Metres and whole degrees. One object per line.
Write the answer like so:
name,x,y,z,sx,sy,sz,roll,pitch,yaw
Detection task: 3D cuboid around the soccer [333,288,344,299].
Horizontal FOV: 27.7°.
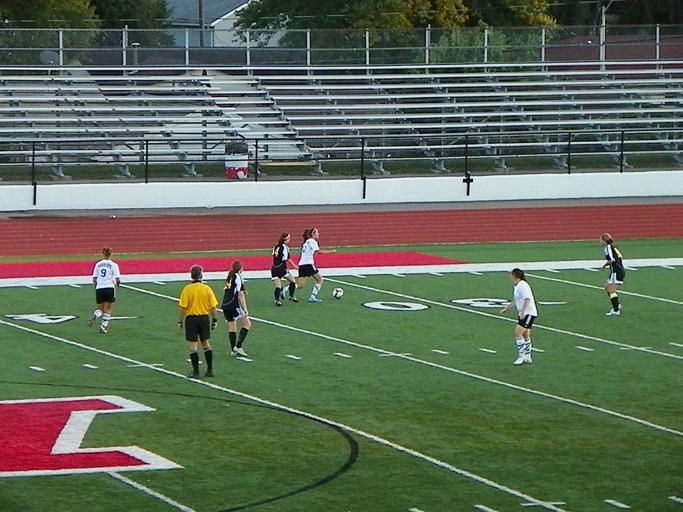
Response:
soccer,-0.010,0.867,31.504,0.273,0.214,0.234,5,32,-8

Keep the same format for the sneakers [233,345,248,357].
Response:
sneakers,-1.954,1.873,27.149,0.372,0.130,0.120,14,27,4

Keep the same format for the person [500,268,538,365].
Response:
person,3.527,1.161,27.033,0.584,1.845,0.636,1,7,6

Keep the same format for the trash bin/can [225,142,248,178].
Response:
trash bin/can,-3.226,-3.027,43.262,0.691,1.217,0.853,0,7,-5

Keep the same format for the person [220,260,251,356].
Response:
person,-2.019,1.027,27.028,0.491,1.918,0.765,0,7,0

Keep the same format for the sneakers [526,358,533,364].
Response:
sneakers,3.683,2.034,26.949,0.068,0.067,0.181,2,6,10

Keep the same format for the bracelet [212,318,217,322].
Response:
bracelet,-2.311,1.197,25.646,0.074,0.047,0.075,12,16,43

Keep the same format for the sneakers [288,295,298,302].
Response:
sneakers,-1.054,0.964,31.246,0.204,0.111,0.086,9,44,-18

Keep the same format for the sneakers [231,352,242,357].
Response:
sneakers,-2.025,1.921,27.103,0.218,0.074,0.072,1,4,9

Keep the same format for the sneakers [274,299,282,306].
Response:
sneakers,-1.395,1.034,30.896,0.200,0.064,0.081,15,-25,28

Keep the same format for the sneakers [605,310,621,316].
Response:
sneakers,6.007,1.252,30.388,0.376,0.128,0.113,3,15,8

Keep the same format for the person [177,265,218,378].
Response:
person,-2.653,1.221,25.871,0.661,2.124,0.711,0,7,-4

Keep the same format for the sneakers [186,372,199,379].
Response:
sneakers,-2.737,2.235,25.851,0.254,0.091,0.091,7,10,34
